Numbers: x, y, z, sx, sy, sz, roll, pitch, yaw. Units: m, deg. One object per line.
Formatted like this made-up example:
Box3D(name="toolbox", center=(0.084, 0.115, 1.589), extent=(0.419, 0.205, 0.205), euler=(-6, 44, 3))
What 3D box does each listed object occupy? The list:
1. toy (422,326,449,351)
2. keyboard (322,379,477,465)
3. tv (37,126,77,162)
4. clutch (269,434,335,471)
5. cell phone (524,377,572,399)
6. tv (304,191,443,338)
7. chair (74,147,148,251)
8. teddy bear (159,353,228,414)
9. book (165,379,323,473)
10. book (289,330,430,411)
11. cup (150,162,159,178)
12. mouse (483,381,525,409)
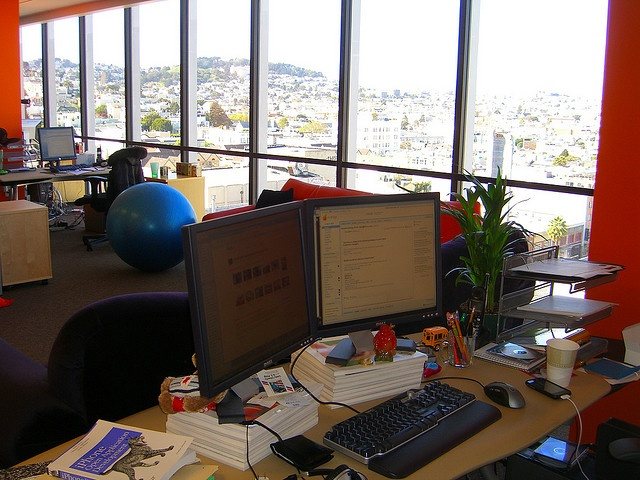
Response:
Box3D(name="toy", center=(0.505, 0.433, 2.219), extent=(0.119, 0.073, 0.070), euler=(-9, 19, -21))
Box3D(name="keyboard", center=(0.286, 0.606, 1.701), extent=(0.554, 0.096, 0.182), euler=(-8, 15, -36))
Box3D(name="tv", center=(-3.763, -1.371, 7.194), extent=(0.070, 0.506, 0.610), euler=(8, 13, 39))
Box3D(name="clutch", center=(-0.047, 0.652, 1.543), extent=(0.109, 0.032, 0.111), euler=(17, 17, 42))
Box3D(name="cell phone", center=(0.870, 0.555, 1.919), extent=(0.067, 0.015, 0.114), euler=(-7, 16, -37))
Box3D(name="tv", center=(0.196, 0.091, 1.932), extent=(0.607, 0.499, 0.062), euler=(-3, 2, -31))
Box3D(name="chair", center=(-2.666, -0.746, 6.514), extent=(0.739, 0.909, 0.411), euler=(4, 13, 13))
Box3D(name="teddy bear", center=(-0.433, 0.499, 1.649), extent=(0.211, 0.081, 0.175), euler=(4, 14, 20))
Box3D(name="book", center=(-0.273, 0.585, 1.582), extent=(0.264, 0.080, 0.268), euler=(11, 18, 32))
Box3D(name="book", center=(0.097, 0.437, 1.858), extent=(0.290, 0.093, 0.282), euler=(-10, 14, -39))
Box3D(name="cup", center=(-2.338, -0.995, 7.135), extent=(0.108, 0.203, 0.183), euler=(-3, 13, -19))
Box3D(name="mouse", center=(0.673, 0.572, 1.839), extent=(0.072, 0.042, 0.121), euler=(-7, 10, -38))
